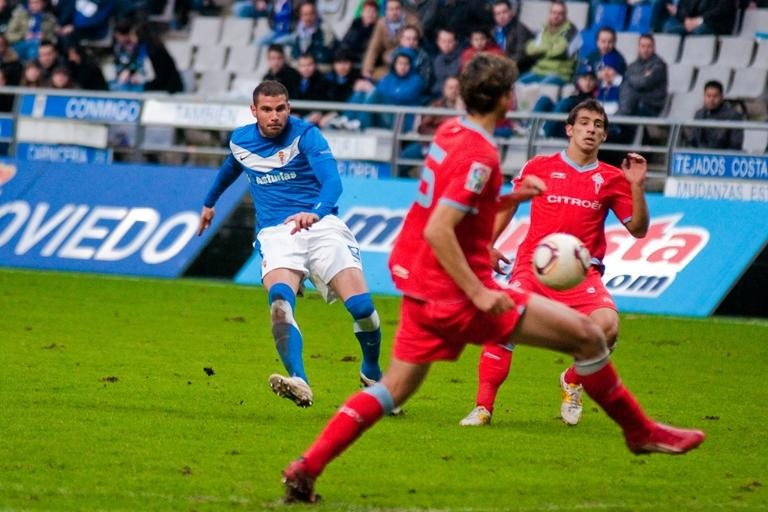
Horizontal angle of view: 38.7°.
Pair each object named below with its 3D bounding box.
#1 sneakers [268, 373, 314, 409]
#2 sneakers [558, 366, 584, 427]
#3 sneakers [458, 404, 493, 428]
[{"bbox_3d":[-0.898,1.298,10.358,0.358,0.140,0.220,32,14,9],"label":"sneakers"},{"bbox_3d":[1.792,1.371,10.639,0.199,0.569,0.249,-2,4,5],"label":"sneakers"},{"bbox_3d":[0.852,1.559,10.446,0.298,0.123,0.149,-2,5,-16],"label":"sneakers"}]
